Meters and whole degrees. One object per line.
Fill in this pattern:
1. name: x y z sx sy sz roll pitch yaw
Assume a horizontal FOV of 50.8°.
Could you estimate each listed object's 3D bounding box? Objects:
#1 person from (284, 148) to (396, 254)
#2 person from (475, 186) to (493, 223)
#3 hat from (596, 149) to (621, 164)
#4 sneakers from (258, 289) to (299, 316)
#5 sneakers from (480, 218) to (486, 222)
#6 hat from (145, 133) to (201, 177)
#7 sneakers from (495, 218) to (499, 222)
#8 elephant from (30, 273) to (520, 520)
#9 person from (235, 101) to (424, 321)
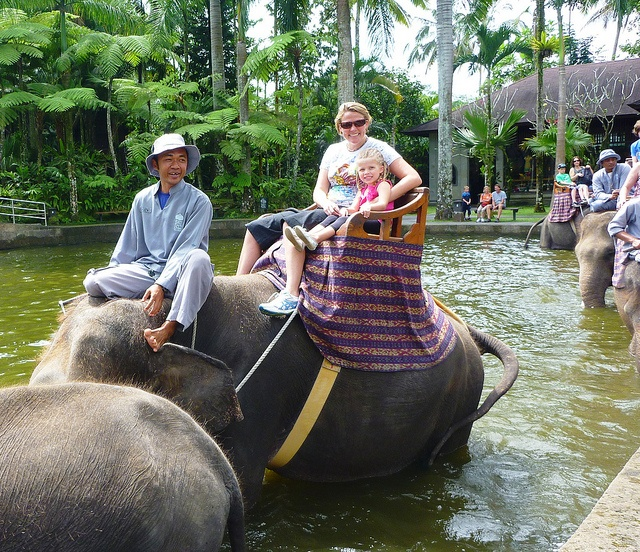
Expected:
1. person: 0.100 -0.329 3.094 0.665 0.457 0.292 -24 28 -33
2. person: 4.336 -1.922 17.718 0.324 0.859 2.029 2 10 15
3. hat: 3.428 -1.424 8.011 0.201 0.140 0.230 3 10 21
4. sneakers: -0.170 0.099 2.806 0.066 0.091 0.187 22 18 26
5. sneakers: 4.127 -1.443 17.226 0.088 0.126 0.285 1 0 15
6. hat: -0.640 -0.527 2.942 0.181 0.114 0.217 -7 -32 -21
7. sneakers: 4.448 -1.407 16.955 0.058 0.076 0.187 -1 3 18
8. elephant: -0.113 0.532 3.108 1.869 1.176 0.817 4 4 -28
9. person: 0.015 -0.373 3.671 1.096 1.392 0.700 0 3 -36
